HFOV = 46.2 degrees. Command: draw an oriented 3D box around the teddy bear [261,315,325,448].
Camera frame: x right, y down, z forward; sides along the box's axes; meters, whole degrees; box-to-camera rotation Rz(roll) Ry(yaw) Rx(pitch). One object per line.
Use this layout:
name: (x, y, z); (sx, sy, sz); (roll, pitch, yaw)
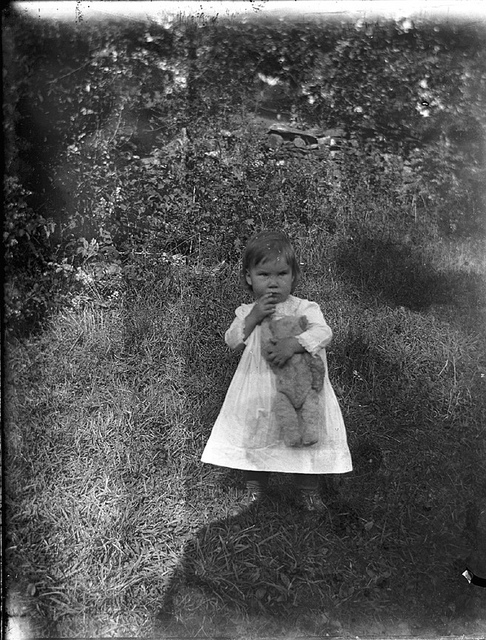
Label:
teddy bear: (0.182, 0.246, 2.144); (0.238, 0.503, 0.227); (0, 7, 6)

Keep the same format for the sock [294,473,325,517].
sock: (0.263, 0.697, 2.256); (0.120, 0.169, 0.031); (-1, 7, -1)

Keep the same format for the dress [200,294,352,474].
dress: (0.134, 0.231, 2.349); (0.555, 0.853, 0.201); (-4, -25, 8)
